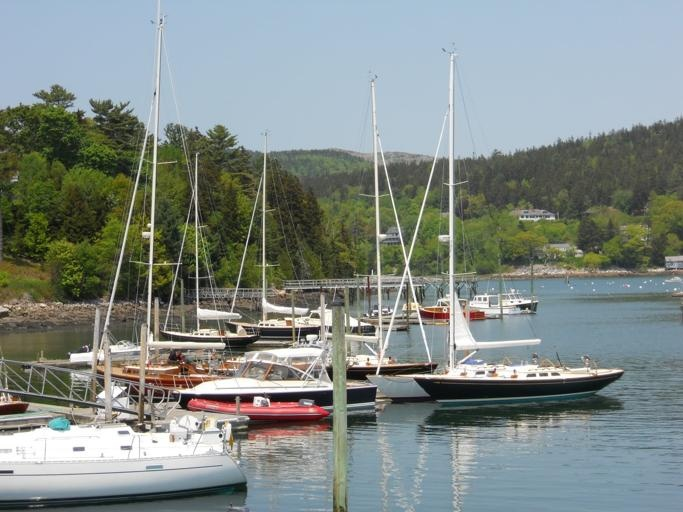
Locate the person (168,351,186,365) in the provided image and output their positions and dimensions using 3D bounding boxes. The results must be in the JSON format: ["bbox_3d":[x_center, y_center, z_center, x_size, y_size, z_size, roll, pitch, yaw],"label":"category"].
[{"bbox_3d":[-12.201,7.622,99.485,1.055,1.038,0.868,-2,-3,25],"label":"person"}]
